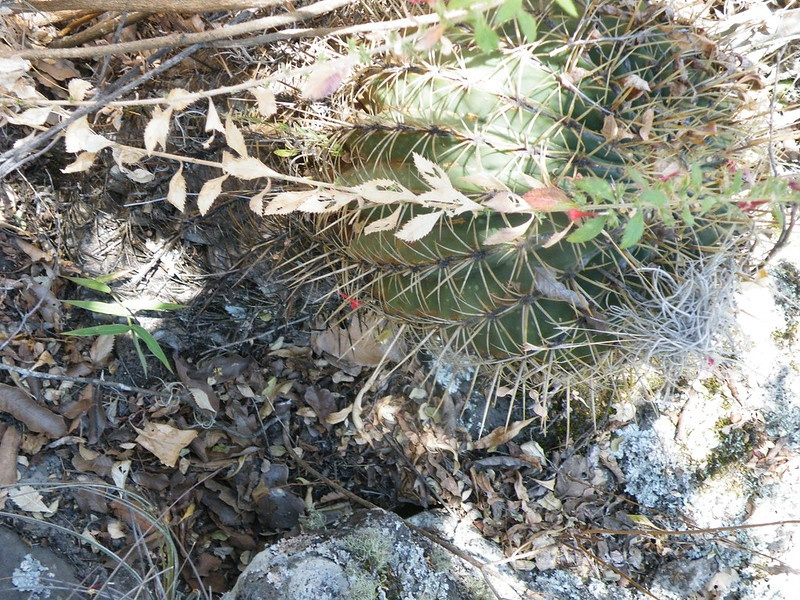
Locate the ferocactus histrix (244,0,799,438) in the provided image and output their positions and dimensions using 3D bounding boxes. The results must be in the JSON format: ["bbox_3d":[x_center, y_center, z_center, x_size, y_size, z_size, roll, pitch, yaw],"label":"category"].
[{"bbox_3d":[0.340,-0.333,2.623,1.539,1.294,1.339,-6,31,-6],"label":"ferocactus histrix"}]
